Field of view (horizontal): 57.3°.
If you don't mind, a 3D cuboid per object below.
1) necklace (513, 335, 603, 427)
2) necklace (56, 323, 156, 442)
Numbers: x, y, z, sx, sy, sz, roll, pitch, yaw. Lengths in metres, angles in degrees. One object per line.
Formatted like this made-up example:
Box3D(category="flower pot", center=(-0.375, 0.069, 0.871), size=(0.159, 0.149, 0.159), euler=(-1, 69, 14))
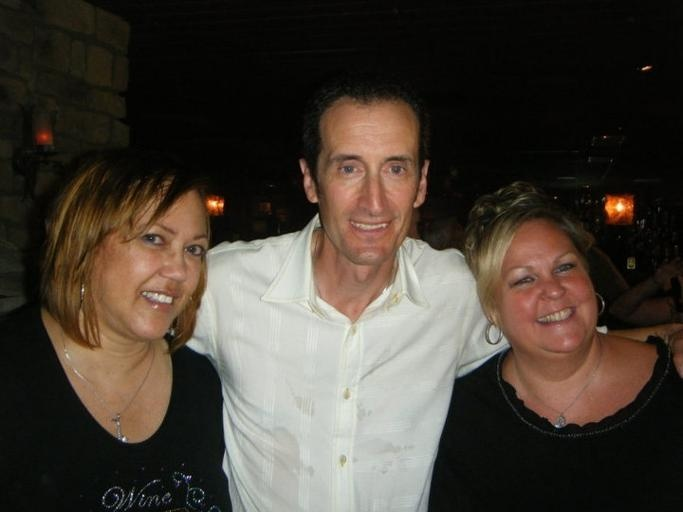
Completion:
Box3D(category="necklace", center=(1.359, 0.726, 3.713), size=(0.323, 0.523, 0.143), euler=(1, -11, 10))
Box3D(category="necklace", center=(-1.290, 0.679, 3.367), size=(0.354, 0.586, 0.086), euler=(-5, -11, -26))
